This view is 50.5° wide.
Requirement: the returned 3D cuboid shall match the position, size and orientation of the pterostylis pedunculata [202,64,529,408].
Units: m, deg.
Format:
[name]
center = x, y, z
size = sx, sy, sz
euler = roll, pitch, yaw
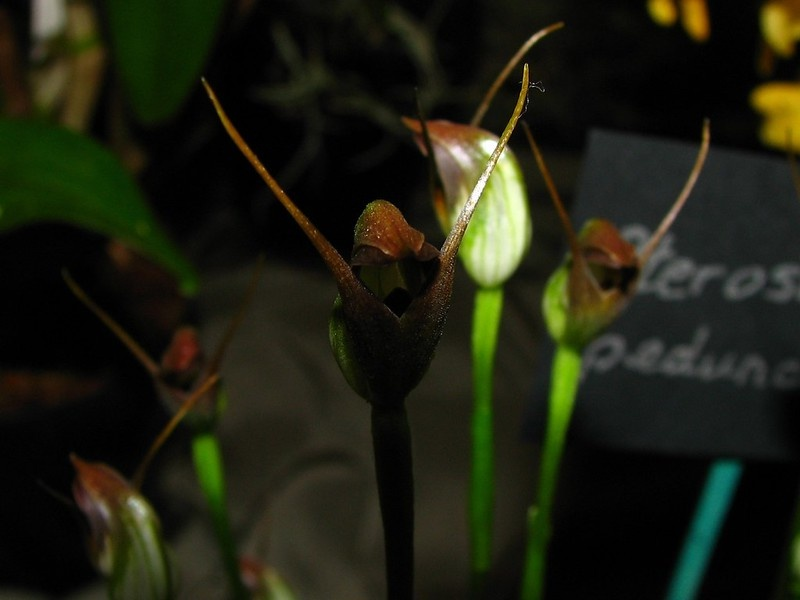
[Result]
[pterostylis pedunculata]
center = -0.030, -0.057, 0.626
size = 0.231, 0.316, 0.102
euler = -2, 1, -17
